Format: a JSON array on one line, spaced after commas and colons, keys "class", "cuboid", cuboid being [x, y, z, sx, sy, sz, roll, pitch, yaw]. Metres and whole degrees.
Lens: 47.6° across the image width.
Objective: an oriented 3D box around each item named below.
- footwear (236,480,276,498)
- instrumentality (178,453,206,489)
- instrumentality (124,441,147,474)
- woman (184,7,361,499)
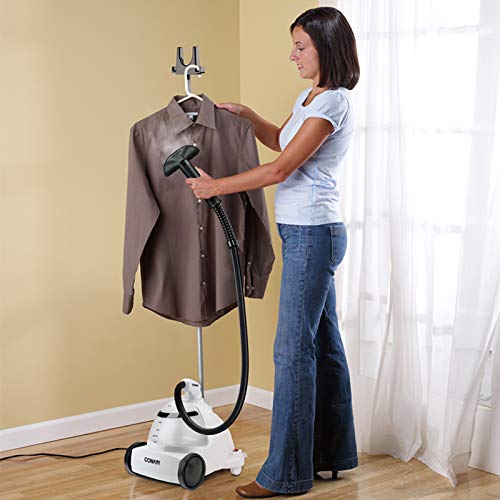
[{"class": "footwear", "cuboid": [0.025, 0.797, 1.925, 0.134, 0.051, 0.056, 5, 51, 7]}, {"class": "instrumentality", "cuboid": [-0.199, 0.752, 1.950, 0.024, 0.106, 0.102, -2, 21, 30]}, {"class": "instrumentality", "cuboid": [-0.437, 0.758, 2.138, 0.100, 0.106, 0.099, -1, 5, -36]}, {"class": "woman", "cuboid": [0.130, 0.019, 1.997, 0.506, 1.621, 0.457, 0, 1, 11]}]
